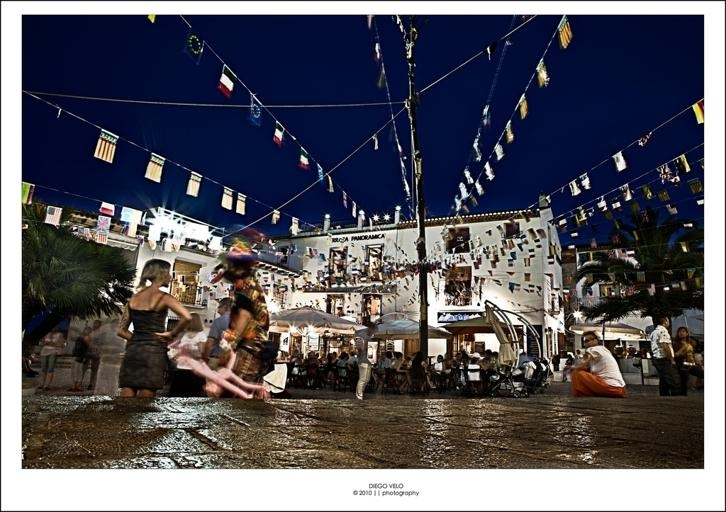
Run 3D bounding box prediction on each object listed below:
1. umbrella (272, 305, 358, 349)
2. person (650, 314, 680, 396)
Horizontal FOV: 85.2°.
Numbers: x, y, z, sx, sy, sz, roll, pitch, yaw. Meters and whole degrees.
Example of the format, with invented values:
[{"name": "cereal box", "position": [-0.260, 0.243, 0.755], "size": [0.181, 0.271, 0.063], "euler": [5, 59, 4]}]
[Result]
[{"name": "umbrella", "position": [-1.868, 2.275, 13.149], "size": [2.987, 1.054, 3.128], "euler": [-7, -14, 35]}, {"name": "person", "position": [6.055, 2.035, 7.887], "size": [0.425, 1.590, 1.289], "euler": [-5, -12, 37]}]
